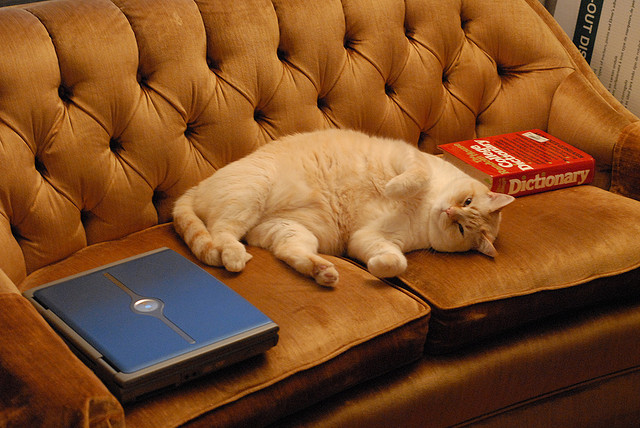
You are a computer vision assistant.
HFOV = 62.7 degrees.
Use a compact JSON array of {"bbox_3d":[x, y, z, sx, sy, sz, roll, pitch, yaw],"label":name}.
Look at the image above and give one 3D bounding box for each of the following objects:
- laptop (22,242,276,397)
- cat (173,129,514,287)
[{"bbox_3d":[-0.480,0.282,1.494,0.587,0.193,0.423,21,45,39],"label":"laptop"},{"bbox_3d":[0.088,-0.038,1.852,0.927,0.289,0.567,3,23,2],"label":"cat"}]
